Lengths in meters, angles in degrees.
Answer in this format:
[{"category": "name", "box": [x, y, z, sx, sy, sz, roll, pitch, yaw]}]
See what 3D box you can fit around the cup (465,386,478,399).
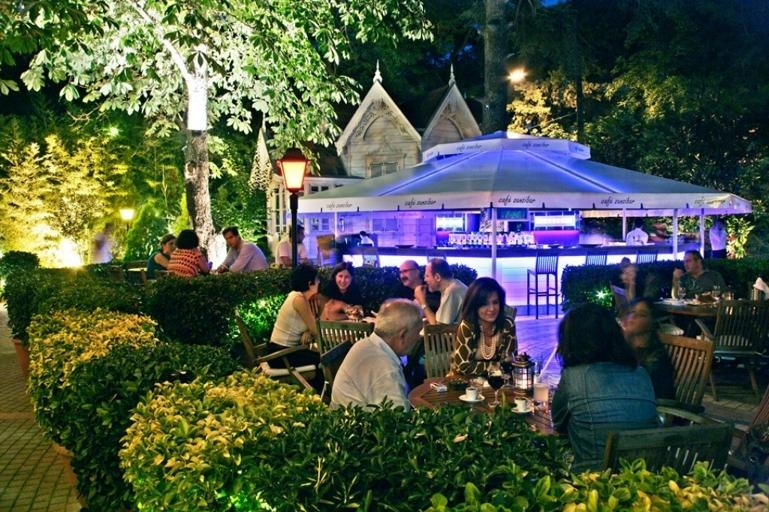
[{"category": "cup", "box": [1.020, 1.676, 8.513, 0.102, 0.104, 0.135, -5, -9, 32]}]
